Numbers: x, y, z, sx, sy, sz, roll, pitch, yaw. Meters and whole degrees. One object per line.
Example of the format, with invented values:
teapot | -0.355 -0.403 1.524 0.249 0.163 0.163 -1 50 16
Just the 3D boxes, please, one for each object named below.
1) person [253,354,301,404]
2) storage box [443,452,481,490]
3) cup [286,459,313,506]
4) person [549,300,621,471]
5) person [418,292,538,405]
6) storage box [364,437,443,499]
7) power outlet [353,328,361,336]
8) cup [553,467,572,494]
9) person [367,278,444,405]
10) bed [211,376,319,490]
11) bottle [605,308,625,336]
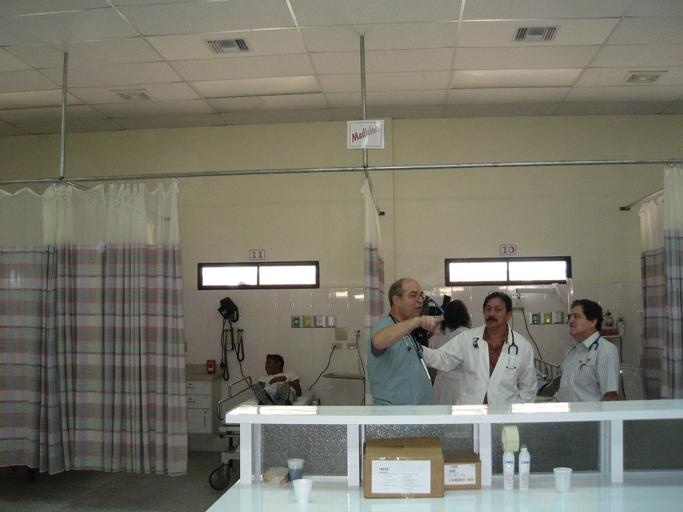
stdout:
person | -0.745 1.473 7.980 0.529 0.651 1.132 2 -12 -8
storage box | 0.832 1.491 4.687 0.323 0.200 0.319 -1 -4 -10
cup | -0.283 1.523 4.578 0.148 0.262 0.261 -1 -7 -8
person | 2.050 0.784 5.631 0.357 0.851 0.512 0 -7 -12
person | 1.217 1.092 5.755 0.831 1.444 0.455 3 10 9
storage box | 0.427 1.457 4.680 0.550 0.362 0.436 -3 -11 9
power outlet | 0.203 0.958 8.408 0.081 0.082 0.070 5 -4 3
cup | 1.477 1.495 4.540 0.134 0.184 0.159 1 -8 11
person | 0.455 0.640 5.032 0.529 0.959 0.624 -2 -7 1
bed | -1.077 1.947 7.700 0.768 0.889 1.408 0 1 10
bottle | 3.258 0.835 8.130 0.266 0.361 0.295 0 -6 -4
